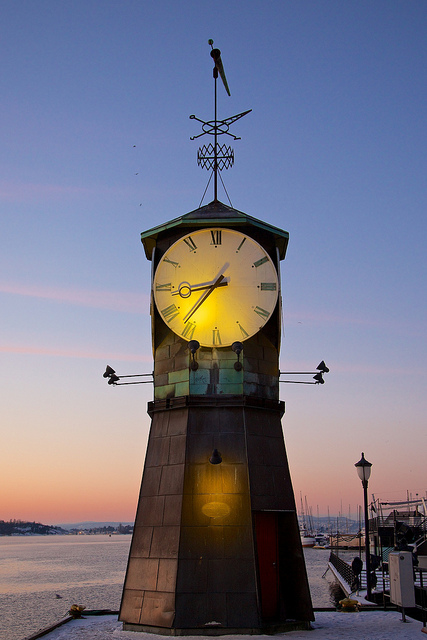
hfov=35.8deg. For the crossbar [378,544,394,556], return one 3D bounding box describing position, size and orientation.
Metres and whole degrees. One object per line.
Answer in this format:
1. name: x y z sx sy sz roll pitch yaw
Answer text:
1. crossbar: 12.033 15.841 46.281 0.625 0.540 3.535 -4 -16 19
